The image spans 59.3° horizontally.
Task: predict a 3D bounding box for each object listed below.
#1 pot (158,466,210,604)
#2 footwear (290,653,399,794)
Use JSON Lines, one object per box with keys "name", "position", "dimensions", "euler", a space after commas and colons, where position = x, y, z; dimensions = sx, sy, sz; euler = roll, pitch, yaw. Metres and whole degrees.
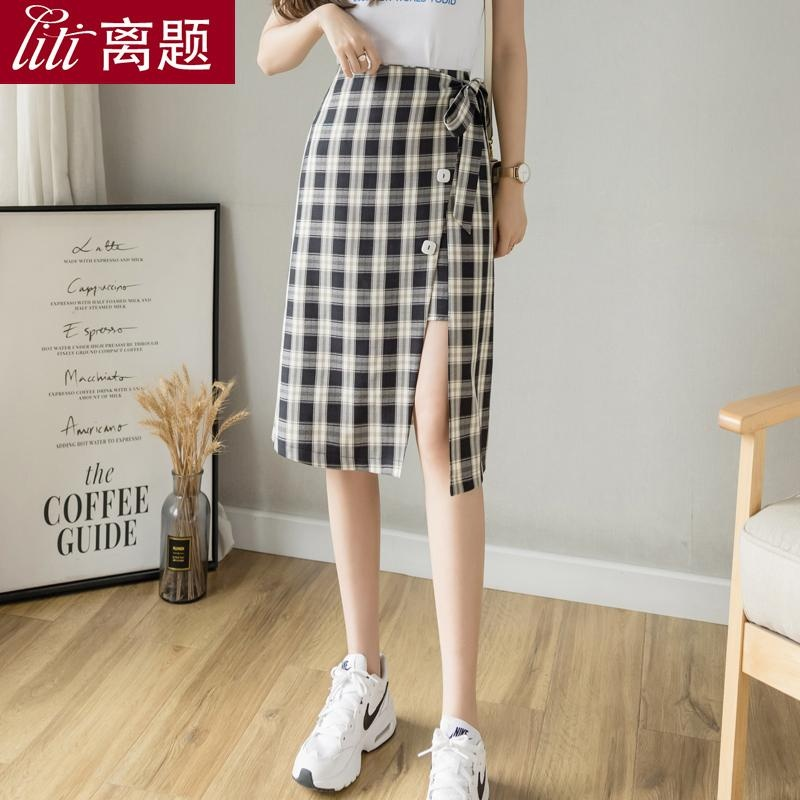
{"name": "pot", "position": [-0.523, 0.311, 1.672], "dimensions": [0.128, 0.305, 0.140], "euler": [1, 12, 0]}
{"name": "footwear", "position": [-0.089, 0.537, 1.215], "dimensions": [0.083, 0.146, 0.253], "euler": [0, 8, 17]}
